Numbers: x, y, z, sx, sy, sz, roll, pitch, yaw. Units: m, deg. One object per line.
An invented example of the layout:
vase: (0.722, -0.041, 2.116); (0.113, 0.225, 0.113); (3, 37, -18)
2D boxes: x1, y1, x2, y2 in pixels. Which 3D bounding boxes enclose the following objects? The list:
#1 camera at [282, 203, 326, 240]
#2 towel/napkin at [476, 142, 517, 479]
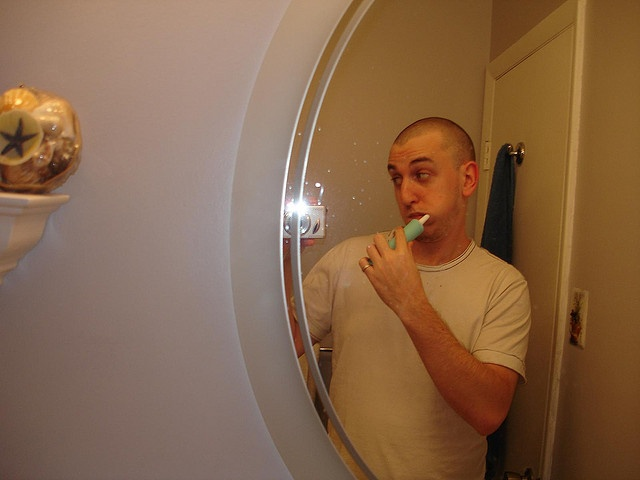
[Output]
camera: (-0.029, -0.033, 1.068); (0.074, 0.081, 0.019); (1, -2, 17)
towel/napkin: (0.354, 0.140, 0.995); (0.086, 0.644, 0.037); (-2, -2, 6)
